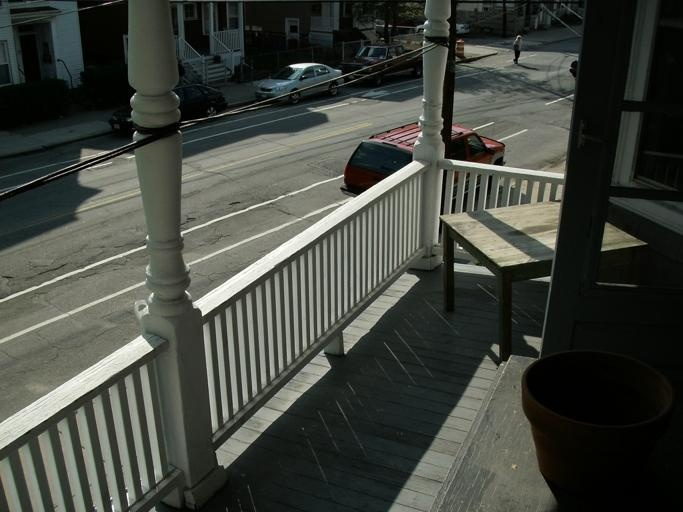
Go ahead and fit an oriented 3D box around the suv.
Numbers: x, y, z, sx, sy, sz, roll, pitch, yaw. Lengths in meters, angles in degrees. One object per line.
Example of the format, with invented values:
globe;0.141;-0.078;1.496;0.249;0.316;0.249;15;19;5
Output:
suv;1.998;-2.065;13.076;2.010;1.457;4.004;27;35;37

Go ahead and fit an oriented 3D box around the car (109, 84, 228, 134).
car;-5.610;-4.858;19.809;4.030;1.494;3.505;-9;23;-20

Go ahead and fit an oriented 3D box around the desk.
desk;1.547;-0.163;4.926;1.433;0.960;1.319;-8;35;-5
